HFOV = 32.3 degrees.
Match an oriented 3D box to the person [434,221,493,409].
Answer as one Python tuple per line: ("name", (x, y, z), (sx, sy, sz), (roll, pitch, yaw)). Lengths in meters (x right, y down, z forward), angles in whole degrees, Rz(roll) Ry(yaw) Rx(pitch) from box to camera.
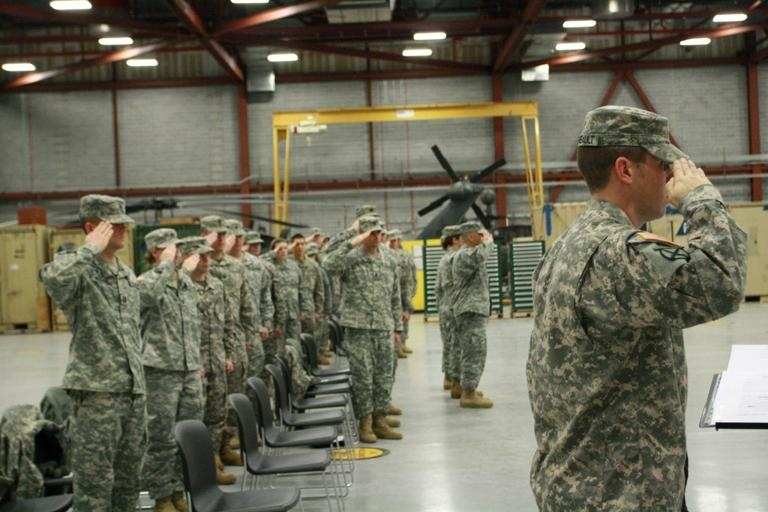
("person", (1.891, 1.300, 30.038), (0.742, 4.144, 1.311), (-2, 1, -18))

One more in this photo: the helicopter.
("helicopter", (-2.283, -1.560, 39.036), (11.190, 3.003, 4.155), (1, 0, -2))

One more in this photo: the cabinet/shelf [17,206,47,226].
("cabinet/shelf", (-10.593, -1.175, 40.164), (0.616, 0.460, 0.642), (-3, -2, 22))

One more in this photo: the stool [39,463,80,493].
("stool", (-6.240, 4.382, 25.795), (0.506, 0.434, 0.401), (-7, -8, 20))

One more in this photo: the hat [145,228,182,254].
("hat", (-4.417, -0.276, 26.935), (0.564, 0.276, 0.440), (-17, 3, 9))

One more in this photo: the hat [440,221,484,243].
("hat", (1.797, -0.569, 30.062), (0.527, 0.225, 0.621), (-8, -2, -15))

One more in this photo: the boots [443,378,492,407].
("boots", (1.928, 3.169, 29.993), (0.979, 0.778, 0.444), (-8, -3, 7))
